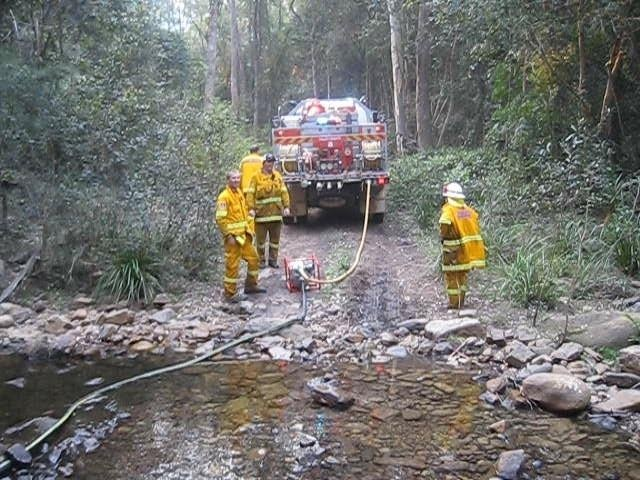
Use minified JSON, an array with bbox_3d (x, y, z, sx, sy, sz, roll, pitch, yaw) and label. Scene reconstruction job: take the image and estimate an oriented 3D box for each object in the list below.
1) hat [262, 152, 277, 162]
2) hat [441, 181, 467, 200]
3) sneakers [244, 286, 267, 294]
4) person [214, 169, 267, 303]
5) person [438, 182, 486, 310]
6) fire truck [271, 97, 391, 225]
[{"bbox_3d":[-0.870,-1.478,9.678,0.151,0.111,0.237,7,18,22],"label":"hat"},{"bbox_3d":[2.116,-0.783,8.473,0.270,0.235,0.338,-5,11,-39],"label":"hat"},{"bbox_3d":[-1.150,0.854,9.496,0.370,0.219,0.147,-1,7,-5],"label":"sneakers"},{"bbox_3d":[-1.397,-0.068,9.155,0.486,2.202,0.860,2,9,33],"label":"person"},{"bbox_3d":[2.214,0.108,8.395,0.704,1.974,0.412,-3,7,3],"label":"person"},{"bbox_3d":[0.237,-1.726,11.924,2.401,2.857,2.197,-4,8,-4],"label":"fire truck"}]
